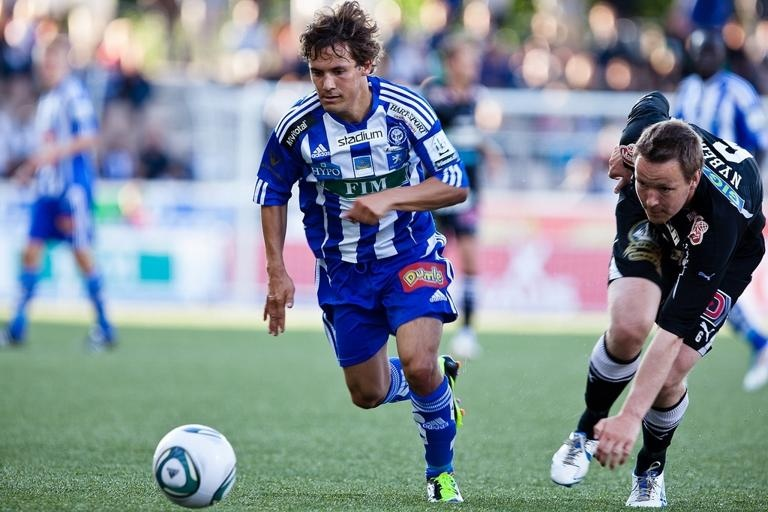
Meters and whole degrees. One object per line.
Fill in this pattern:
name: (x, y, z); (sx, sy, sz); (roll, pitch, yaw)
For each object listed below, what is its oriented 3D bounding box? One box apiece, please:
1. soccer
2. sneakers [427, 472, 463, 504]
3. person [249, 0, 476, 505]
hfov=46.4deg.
soccer: (-1.162, 1.277, 5.706); (0.494, 0.519, 0.477); (6, -5, -7)
sneakers: (0.398, 1.514, 5.918); (0.247, 0.168, 0.244); (1, 10, 2)
person: (-0.130, -0.280, 5.848); (1.314, 2.680, 0.651); (-1, 10, -9)
